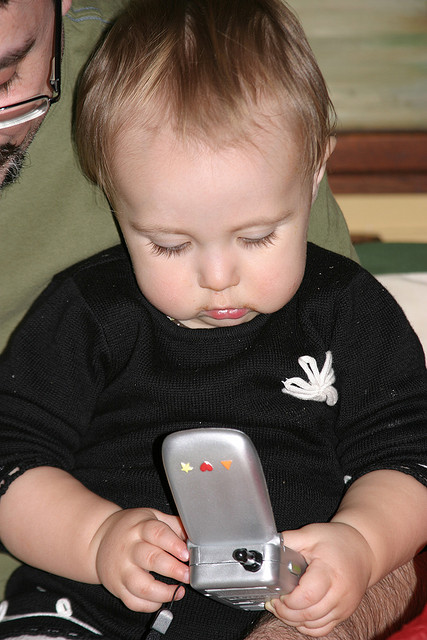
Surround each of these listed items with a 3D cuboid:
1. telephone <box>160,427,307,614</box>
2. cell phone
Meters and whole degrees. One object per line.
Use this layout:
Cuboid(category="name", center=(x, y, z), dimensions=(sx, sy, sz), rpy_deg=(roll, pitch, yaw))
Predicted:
Cuboid(category="telephone", center=(0.021, 0.160, 0.499), dimensions=(0.082, 0.151, 0.132), rpy_deg=(-8, 78, 18))
Cuboid(category="cell phone", center=(0.019, 0.161, 0.500), dimensions=(0.082, 0.152, 0.131), rpy_deg=(-9, 78, 19))
